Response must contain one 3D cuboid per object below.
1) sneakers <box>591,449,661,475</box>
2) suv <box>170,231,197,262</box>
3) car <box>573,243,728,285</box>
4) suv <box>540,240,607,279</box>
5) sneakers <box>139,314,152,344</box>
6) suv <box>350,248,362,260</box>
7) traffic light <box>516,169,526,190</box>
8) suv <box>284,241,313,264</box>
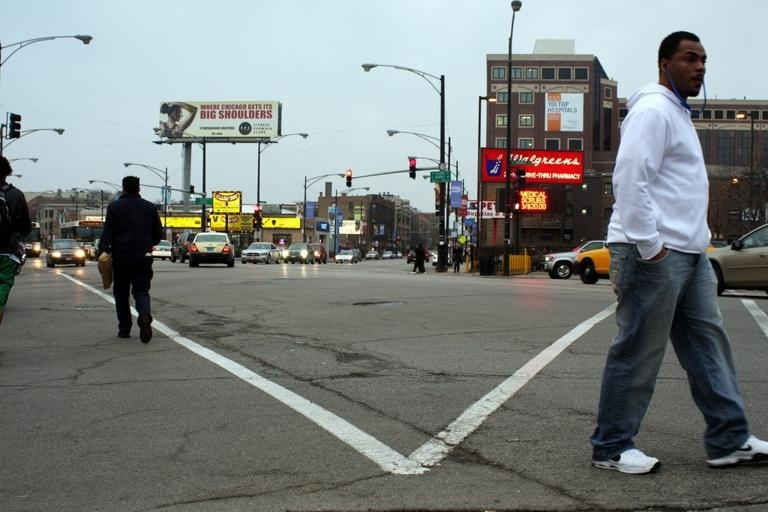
[{"bbox_3d":[1.805,1.510,5.999,0.414,0.157,0.172,-2,-1,15],"label":"sneakers"},{"bbox_3d":[-11.259,-0.431,45.288,1.546,1.554,3.748,0,4,-14],"label":"suv"},{"bbox_3d":[8.839,0.117,27.986,2.440,1.795,4.241,-2,2,-30],"label":"car"},{"bbox_3d":[8.305,0.215,33.088,3.886,1.756,1.714,1,-7,-3],"label":"suv"},{"bbox_3d":[-3.063,0.921,10.468,0.139,0.388,0.167,1,10,-8],"label":"sneakers"},{"bbox_3d":[-2.561,-0.285,75.463,1.195,0.998,1.968,-1,-9,0],"label":"suv"},{"bbox_3d":[6.299,-3.536,37.367,0.348,0.933,0.825,0,6,4],"label":"traffic light"},{"bbox_3d":[-5.737,-0.159,54.959,1.960,1.327,2.852,-1,6,-7],"label":"suv"}]
